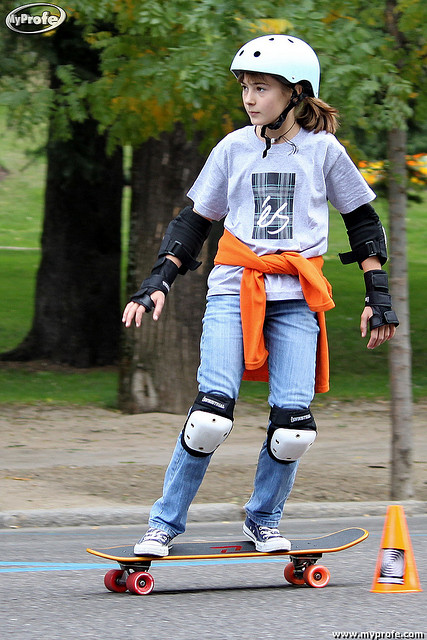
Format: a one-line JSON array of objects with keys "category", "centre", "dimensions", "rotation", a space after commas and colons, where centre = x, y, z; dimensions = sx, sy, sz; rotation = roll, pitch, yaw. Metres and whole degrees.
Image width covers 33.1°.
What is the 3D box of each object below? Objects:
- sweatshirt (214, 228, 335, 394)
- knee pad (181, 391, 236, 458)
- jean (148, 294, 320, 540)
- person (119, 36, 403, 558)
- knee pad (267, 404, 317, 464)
[{"category": "sweatshirt", "centre": [0.188, -0.050, 2.540], "dimensions": [0.464, 0.516, 0.336], "rotation": [0, -8, 1]}, {"category": "knee pad", "centre": [-0.021, 0.351, 2.382], "dimensions": [0.168, 0.180, 0.127], "rotation": [4, 1, -3]}, {"category": "jean", "centre": [0.075, 0.315, 2.504], "dimensions": [0.537, 0.935, 0.261], "rotation": [8, -4, -5]}, {"category": "person", "centre": [0.161, -0.092, 2.530], "dimensions": [0.950, 1.532, 0.541], "rotation": [4, 2, -14]}, {"category": "knee pad", "centre": [0.267, 0.394, 2.441], "dimensions": [0.168, 0.175, 0.147], "rotation": [4, 1, -9]}]
